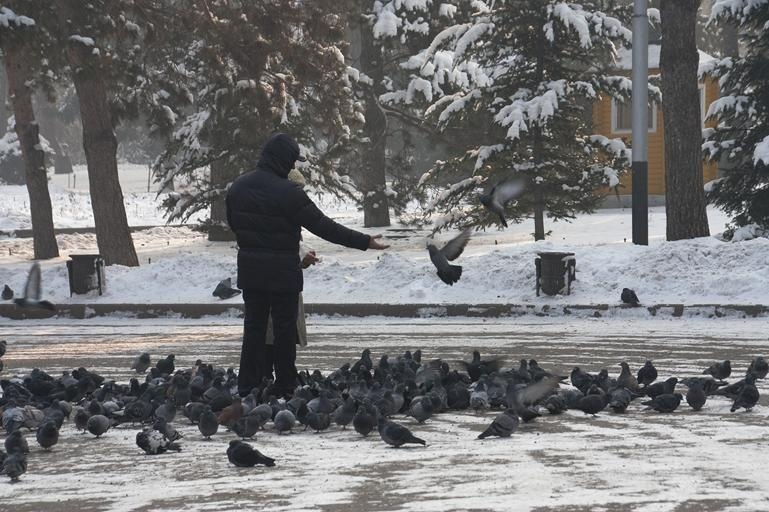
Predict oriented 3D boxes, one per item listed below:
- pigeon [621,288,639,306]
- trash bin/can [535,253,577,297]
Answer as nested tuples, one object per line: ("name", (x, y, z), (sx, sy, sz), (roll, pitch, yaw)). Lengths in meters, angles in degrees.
("pigeon", (6.913, 1.110, 51.489), (0.300, 0.280, 0.625), (-4, 12, -3))
("trash bin/can", (5.007, 0.465, 52.816), (1.302, 1.310, 1.161), (0, -4, -2))
